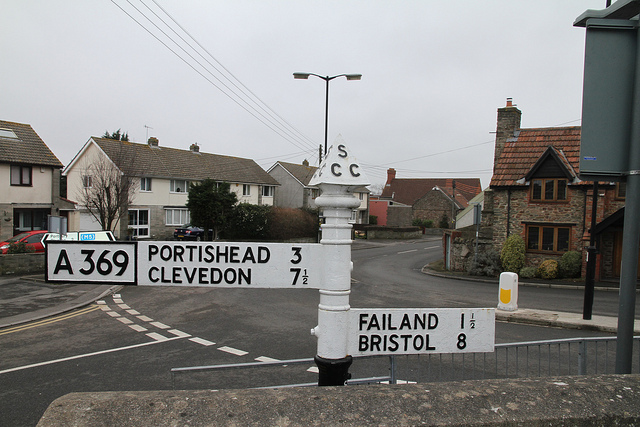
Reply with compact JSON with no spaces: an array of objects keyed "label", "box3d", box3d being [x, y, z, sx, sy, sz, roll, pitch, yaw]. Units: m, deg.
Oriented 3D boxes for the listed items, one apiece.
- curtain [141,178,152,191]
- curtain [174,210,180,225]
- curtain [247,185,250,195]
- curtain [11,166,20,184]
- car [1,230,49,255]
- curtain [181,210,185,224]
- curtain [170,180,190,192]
[{"label":"curtain","box3d":[-12.394,-2.137,45.603,0.054,1.045,0.921,4,1,32]},{"label":"curtain","box3d":[-10.736,0.201,48.185,0.125,1.126,0.502,7,13,34]},{"label":"curtain","box3d":[-6.135,-2.122,55.015,0.062,0.831,0.337,4,11,19]},{"label":"curtain","box3d":[-17.252,-2.234,36.327,0.261,0.991,0.705,4,11,22]},{"label":"car","box3d":[-12.936,1.239,28.096,1.133,0.916,1.878,0,-4,38]},{"label":"curtain","box3d":[-10.382,0.167,48.636,0.129,1.041,0.418,3,11,18]},{"label":"curtain","box3d":[-10.605,-2.145,48.210,0.084,0.714,1.201,3,2,30]}]
